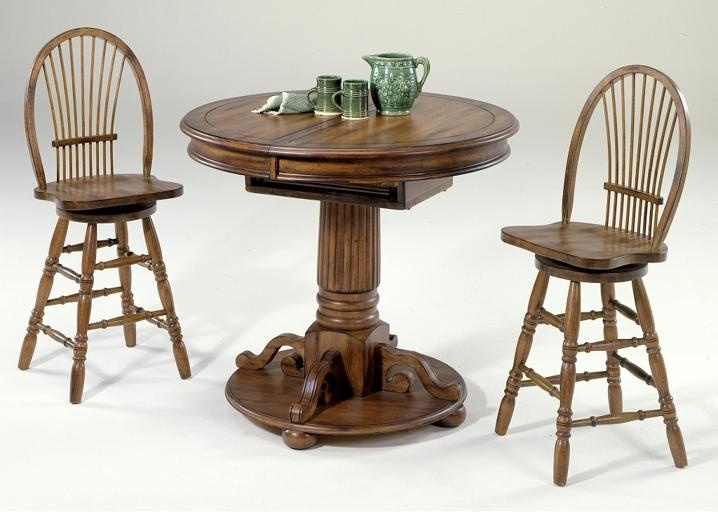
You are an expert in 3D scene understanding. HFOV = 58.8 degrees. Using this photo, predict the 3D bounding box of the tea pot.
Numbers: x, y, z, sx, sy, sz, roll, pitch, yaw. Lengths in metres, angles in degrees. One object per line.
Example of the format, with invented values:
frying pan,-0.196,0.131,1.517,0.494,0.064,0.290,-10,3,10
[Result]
tea pot,0.147,-0.687,2.548,0.253,0.238,0.204,-1,19,1

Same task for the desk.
desk,-0.048,0.082,2.728,1.401,1.175,1.306,-2,14,-30

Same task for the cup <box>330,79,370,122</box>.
cup,-0.022,-0.596,2.436,0.221,0.156,0.124,-1,16,-2

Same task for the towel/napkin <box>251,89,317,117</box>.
towel/napkin,-0.293,-0.611,2.573,0.198,0.052,0.131,-5,9,-15
